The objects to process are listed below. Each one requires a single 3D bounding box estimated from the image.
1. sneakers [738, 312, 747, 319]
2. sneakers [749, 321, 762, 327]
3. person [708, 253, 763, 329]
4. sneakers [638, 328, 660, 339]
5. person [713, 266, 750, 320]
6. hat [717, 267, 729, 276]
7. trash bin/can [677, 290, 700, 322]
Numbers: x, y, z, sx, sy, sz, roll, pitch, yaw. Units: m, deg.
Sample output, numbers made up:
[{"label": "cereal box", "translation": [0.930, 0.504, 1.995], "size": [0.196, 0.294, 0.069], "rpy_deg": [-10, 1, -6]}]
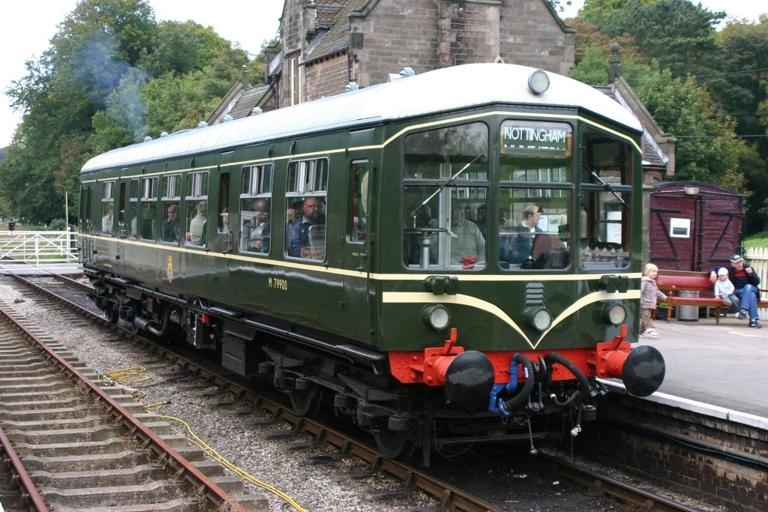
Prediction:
[{"label": "sneakers", "translation": [8.939, 1.512, 18.406], "size": [0.202, 0.194, 0.306], "rpy_deg": [0, 0, 32]}, {"label": "sneakers", "translation": [8.950, 1.683, 17.703], "size": [0.286, 0.132, 0.153], "rpy_deg": [-5, 7, -31]}, {"label": "person", "translation": [8.823, 0.814, 18.367], "size": [0.909, 1.620, 1.920], "rpy_deg": [-1, 6, -1]}, {"label": "sneakers", "translation": [5.634, 1.680, 15.624], "size": [0.180, 0.223, 0.449], "rpy_deg": [0, -1, -36]}, {"label": "person", "translation": [8.541, 0.941, 18.314], "size": [0.773, 1.349, 0.737], "rpy_deg": [0, 0, 26]}, {"label": "hat", "translation": [8.461, 0.400, 18.387], "size": [0.164, 0.186, 0.230], "rpy_deg": [0, -14, 3]}, {"label": "trash bin/can", "translation": [7.584, 1.269, 18.426], "size": [0.508, 0.790, 0.705], "rpy_deg": [0, 0, 22]}]
